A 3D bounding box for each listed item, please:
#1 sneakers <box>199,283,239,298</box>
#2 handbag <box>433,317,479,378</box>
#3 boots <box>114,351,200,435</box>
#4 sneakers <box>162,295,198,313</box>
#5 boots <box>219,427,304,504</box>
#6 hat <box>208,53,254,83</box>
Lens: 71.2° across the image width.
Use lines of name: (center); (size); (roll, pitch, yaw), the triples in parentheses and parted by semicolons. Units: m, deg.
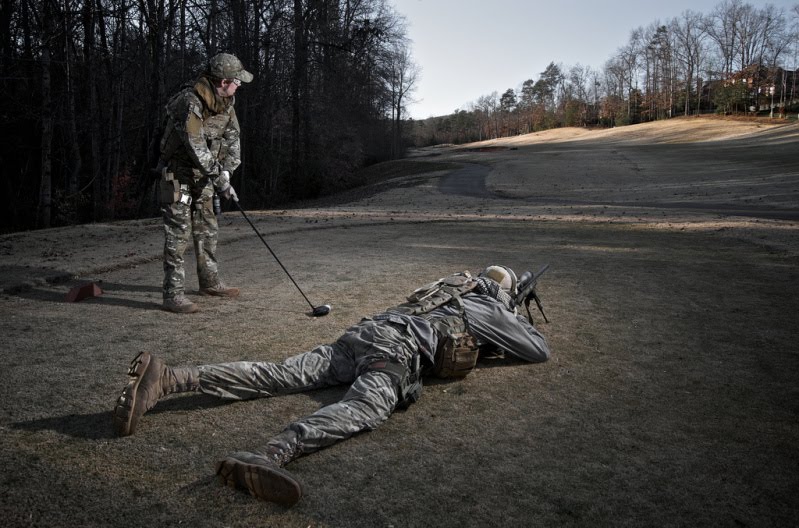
sneakers: (-2.670, 0.384, 8.323); (0.590, 0.226, 0.216); (-1, 32, -11)
handbag: (0.600, 0.937, 5.776); (0.374, 0.435, 0.458); (2, -1, -14)
boots: (-2.218, 1.121, 5.007); (0.571, 1.081, 0.380); (11, 20, -9)
sneakers: (-2.953, 0.531, 7.582); (0.543, 0.223, 0.191); (2, 28, 4)
boots: (-0.961, 1.627, 4.588); (0.723, 0.293, 0.713); (6, 15, 32)
hat: (-2.225, -2.659, 7.544); (0.622, 0.294, 0.388); (-9, 45, -28)
